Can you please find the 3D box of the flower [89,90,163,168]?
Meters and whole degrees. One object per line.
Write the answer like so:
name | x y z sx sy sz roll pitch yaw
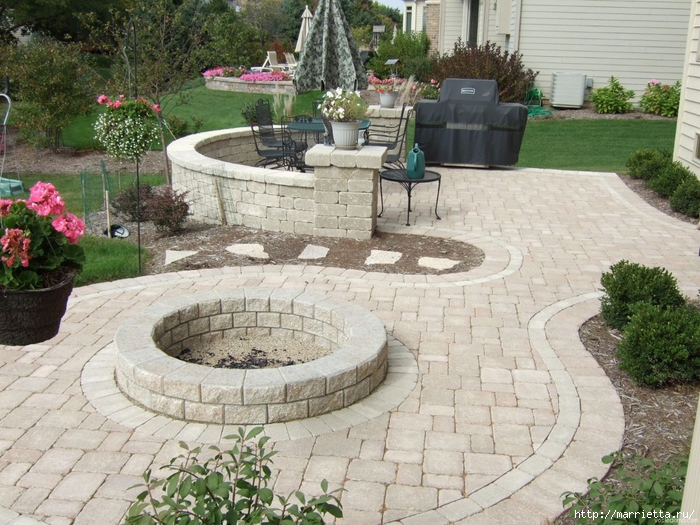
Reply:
flower | -2.913 -1.732 7.377 0.582 0.943 1.148 -14 27 -32

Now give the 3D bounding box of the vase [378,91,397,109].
vase | 0.848 -3.625 12.355 0.459 0.253 0.384 -1 21 -4

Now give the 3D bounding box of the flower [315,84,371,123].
flower | -0.118 -2.288 8.084 0.752 0.403 0.655 -1 23 0
